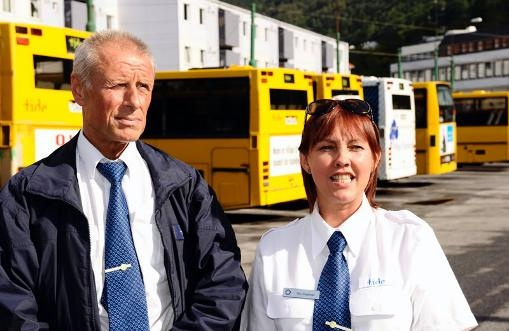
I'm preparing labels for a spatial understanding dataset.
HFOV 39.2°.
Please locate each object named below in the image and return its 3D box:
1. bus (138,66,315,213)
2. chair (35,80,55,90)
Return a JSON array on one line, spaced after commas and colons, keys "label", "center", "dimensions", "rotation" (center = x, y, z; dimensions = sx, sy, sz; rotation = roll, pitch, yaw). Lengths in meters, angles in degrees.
[{"label": "bus", "center": [-0.629, -0.859, 16.210], "dimensions": [3.779, 2.386, 2.215], "rotation": [3, 5, 26]}, {"label": "chair", "center": [-3.748, -1.409, 12.720], "dimensions": [0.275, 0.124, 0.105], "rotation": [-3, 9, -18]}]
